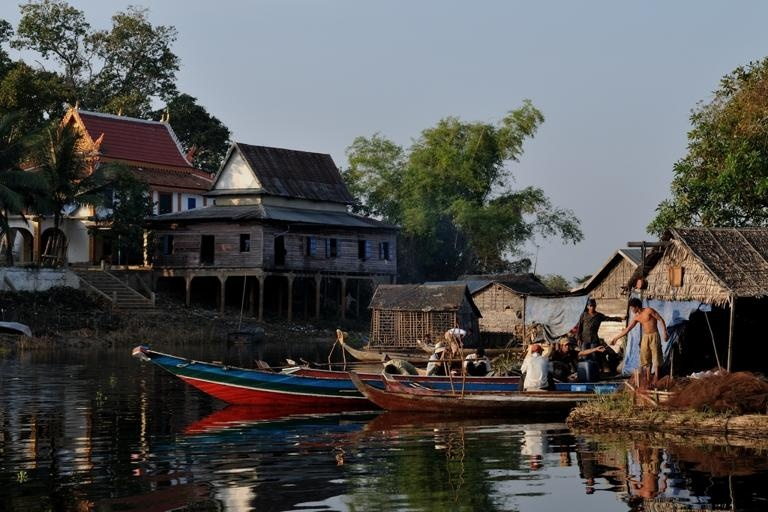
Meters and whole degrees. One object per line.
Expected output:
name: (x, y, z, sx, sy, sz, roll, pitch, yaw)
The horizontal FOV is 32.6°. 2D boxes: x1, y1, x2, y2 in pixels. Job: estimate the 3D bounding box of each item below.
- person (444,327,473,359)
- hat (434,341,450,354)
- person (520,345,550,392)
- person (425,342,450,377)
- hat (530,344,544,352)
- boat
person: (2.687, 3.272, 48.135, 0.715, 0.534, 1.189, 7, -40, -16)
hat: (1.973, 3.166, 44.475, 0.701, 0.339, 0.882, 0, -2, 0)
person: (4.751, 3.667, 41.525, 0.878, 1.259, 1.970, 2, -53, 4)
person: (1.753, 3.471, 43.606, 0.973, 0.623, 1.489, -6, -43, -4)
hat: (4.729, 2.914, 41.049, 0.311, 0.235, 0.494, 4, 20, 18)
boat: (-1.485, 4.007, 42.523, 11.712, 1.948, 1.556, -4, -15, 6)
